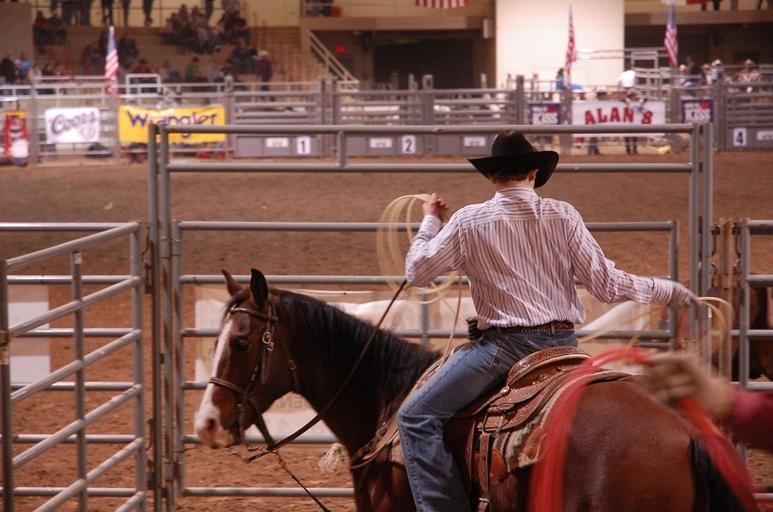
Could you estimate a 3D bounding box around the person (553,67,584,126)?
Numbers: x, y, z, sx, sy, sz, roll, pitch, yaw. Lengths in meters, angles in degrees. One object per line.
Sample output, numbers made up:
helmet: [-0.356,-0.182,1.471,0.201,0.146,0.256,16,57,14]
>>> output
person: [4.728,-4.219,40.458,0.628,1.350,1.956,-1,8,7]
